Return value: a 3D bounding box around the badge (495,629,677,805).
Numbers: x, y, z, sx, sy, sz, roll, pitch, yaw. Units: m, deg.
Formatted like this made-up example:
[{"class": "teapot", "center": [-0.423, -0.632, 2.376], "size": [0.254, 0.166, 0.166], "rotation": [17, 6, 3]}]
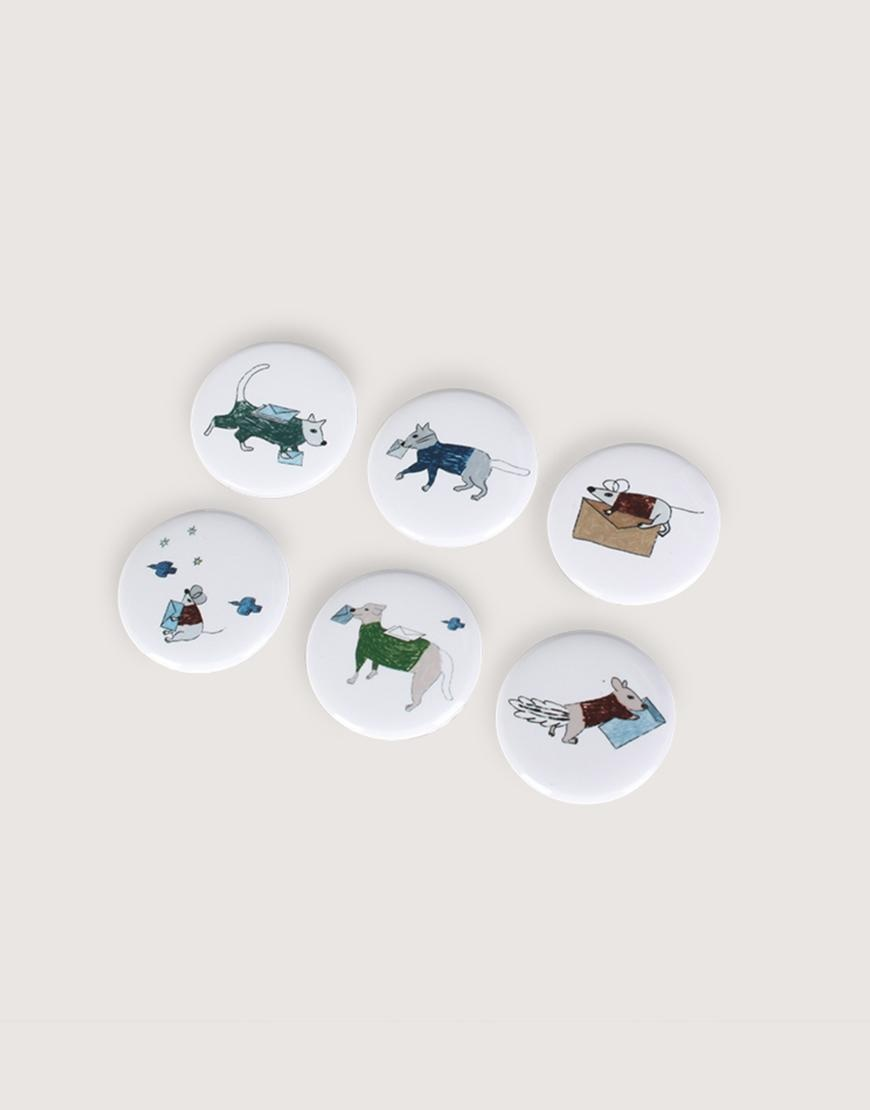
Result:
[{"class": "badge", "center": [0.320, 0.293, 2.671], "size": [0.296, 0.043, 0.304], "rotation": [50, -48, 1]}]
